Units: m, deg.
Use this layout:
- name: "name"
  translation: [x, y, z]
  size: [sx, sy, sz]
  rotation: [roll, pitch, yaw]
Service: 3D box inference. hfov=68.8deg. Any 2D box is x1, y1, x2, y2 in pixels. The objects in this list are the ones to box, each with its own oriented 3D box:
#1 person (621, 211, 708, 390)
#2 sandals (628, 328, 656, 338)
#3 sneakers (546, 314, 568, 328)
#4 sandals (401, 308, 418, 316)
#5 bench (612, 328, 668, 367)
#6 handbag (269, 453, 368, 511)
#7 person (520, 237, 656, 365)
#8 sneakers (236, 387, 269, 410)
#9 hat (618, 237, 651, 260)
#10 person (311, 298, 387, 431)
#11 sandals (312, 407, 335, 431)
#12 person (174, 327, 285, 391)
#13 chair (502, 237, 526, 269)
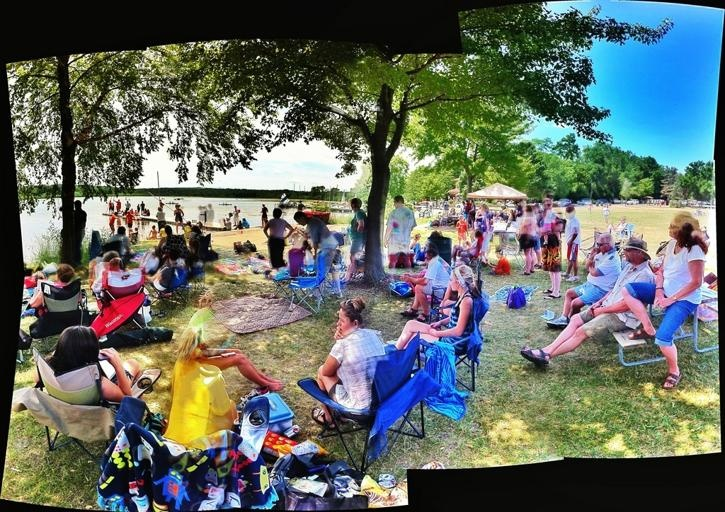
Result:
- name: "person"
  translation: [4.024, 0.607, 7.057]
  size: [0.898, 2.343, 0.263]
  rotation: [0, 7, -2]
- name: "sandals"
  translation: [3.722, 1.039, 7.143]
  size: [0.389, 0.151, 0.117]
  rotation: [1, -4, 11]
- name: "sneakers"
  translation: [2.828, 0.946, 7.654]
  size: [0.366, 0.179, 0.140]
  rotation: [3, -13, -4]
- name: "sandals"
  translation: [0.665, 0.786, 7.478]
  size: [0.243, 0.103, 0.090]
  rotation: [5, -9, -20]
- name: "bench"
  translation: [3.694, 1.205, 7.095]
  size: [0.492, 0.172, 0.709]
  rotation: [-9, 40, 11]
- name: "handbag"
  translation: [-0.528, 2.644, 6.144]
  size: [0.826, 0.323, 0.623]
  rotation: [8, 21, -6]
- name: "person"
  translation: [3.010, 0.599, 7.223]
  size: [1.967, 1.448, 0.821]
  rotation: [-19, 19, -10]
- name: "sneakers"
  translation: [-1.396, 1.777, 6.648]
  size: [0.534, 0.228, 0.184]
  rotation: [1, -5, -41]
- name: "hat"
  translation: [3.661, -0.115, 7.121]
  size: [0.305, 0.159, 0.294]
  rotation: [17, -5, 44]
- name: "person"
  translation: [-0.136, 1.146, 6.200]
  size: [0.771, 1.260, 0.378]
  rotation: [0, 7, -2]
- name: "sandals"
  translation: [-0.498, 2.018, 6.629]
  size: [0.198, 0.136, 0.366]
  rotation: [-21, 48, -38]
- name: "person"
  translation: [-1.659, 1.331, 6.624]
  size: [1.435, 0.829, 0.551]
  rotation: [1, 11, -35]
- name: "chair"
  translation: [2.448, -0.074, 8.671]
  size: [0.412, 0.657, 0.492]
  rotation: [-3, 9, 11]
